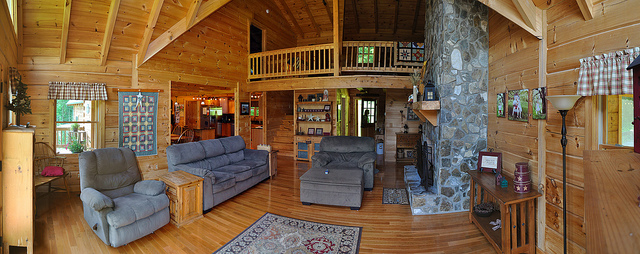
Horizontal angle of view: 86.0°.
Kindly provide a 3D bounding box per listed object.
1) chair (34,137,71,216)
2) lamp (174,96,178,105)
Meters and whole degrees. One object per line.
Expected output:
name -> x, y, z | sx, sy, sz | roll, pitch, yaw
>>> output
chair -> -9.141, 1.502, 11.724 | 0.947, 2.310, 1.249 | -3, 5, -34
lamp -> -7.758, -1.462, 18.575 | 0.137, 0.445, 0.496 | -2, 4, -22
